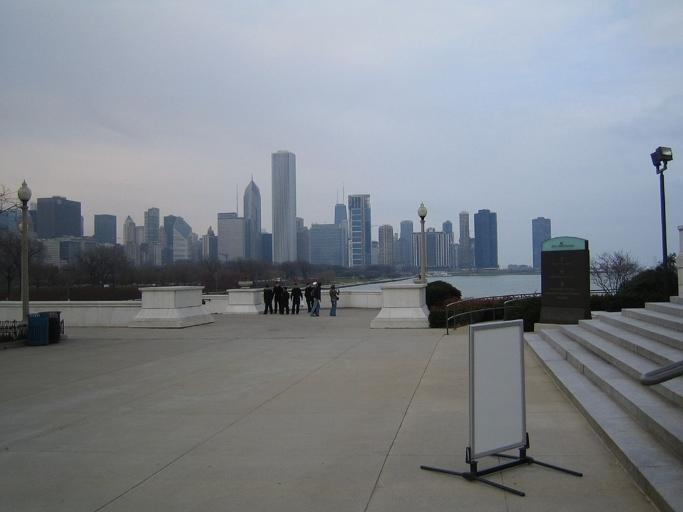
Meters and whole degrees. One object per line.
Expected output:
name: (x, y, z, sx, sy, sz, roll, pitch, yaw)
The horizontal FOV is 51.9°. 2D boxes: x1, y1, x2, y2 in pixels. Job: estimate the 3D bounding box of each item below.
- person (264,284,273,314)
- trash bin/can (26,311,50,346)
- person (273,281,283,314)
person: (-3.352, 1.959, 31.981, 0.466, 1.282, 1.508, -2, 5, -6)
trash bin/can: (-8.889, 2.132, 20.526, 0.771, 1.279, 0.782, 1, -7, -23)
person: (-2.868, 1.838, 31.603, 0.442, 1.545, 1.469, -2, 5, -5)
